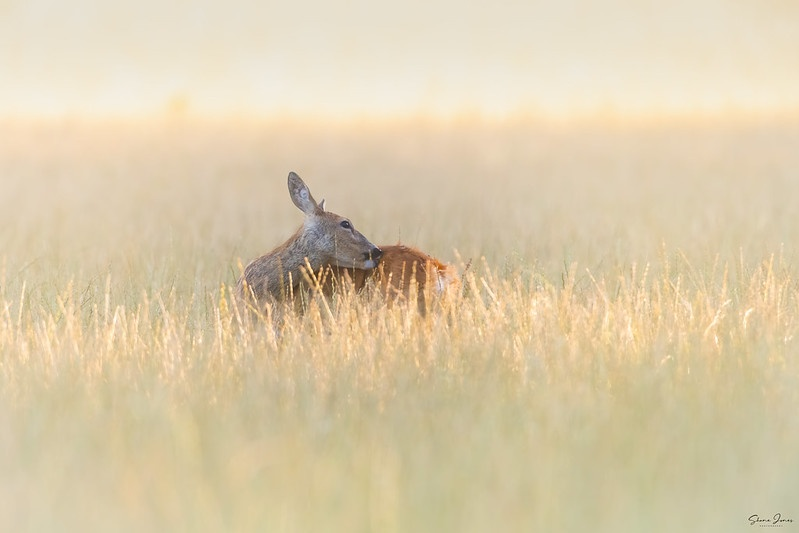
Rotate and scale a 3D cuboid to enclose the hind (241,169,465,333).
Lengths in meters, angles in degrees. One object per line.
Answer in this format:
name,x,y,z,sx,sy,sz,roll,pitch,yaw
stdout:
hind,-0.456,-0.170,9.767,1.699,1.079,0.690,2,21,-7
